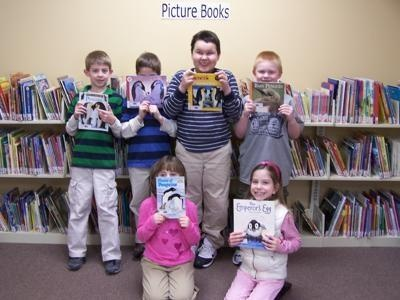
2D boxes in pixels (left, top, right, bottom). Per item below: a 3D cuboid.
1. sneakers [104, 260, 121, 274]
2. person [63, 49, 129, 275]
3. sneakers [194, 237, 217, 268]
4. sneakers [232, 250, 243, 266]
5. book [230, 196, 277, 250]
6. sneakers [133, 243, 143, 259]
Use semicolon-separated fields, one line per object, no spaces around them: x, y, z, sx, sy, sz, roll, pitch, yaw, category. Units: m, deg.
-0.668;0.895;2.411;0.111;0.077;0.096;-5;13;-16;sneakers
-0.833;0.084;2.446;0.529;1.652;0.555;-5;13;-14;person
0.051;0.834;2.581;0.135;0.149;0.367;2;7;20;sneakers
0.304;0.870;2.506;0.060;0.053;0.132;0;-5;-3;sneakers
0.330;0.453;1.964;0.253;0.305;0.011;1;12;13;book
-0.503;0.828;2.561;0.066;0.088;0.200;2;-7;-9;sneakers
